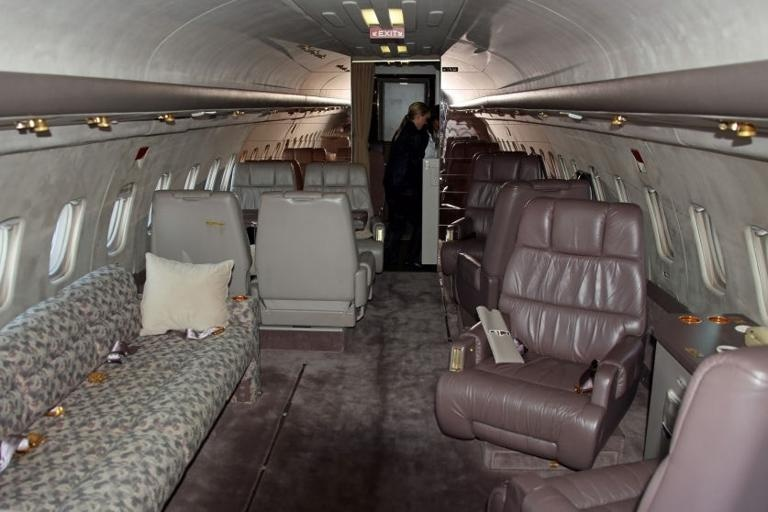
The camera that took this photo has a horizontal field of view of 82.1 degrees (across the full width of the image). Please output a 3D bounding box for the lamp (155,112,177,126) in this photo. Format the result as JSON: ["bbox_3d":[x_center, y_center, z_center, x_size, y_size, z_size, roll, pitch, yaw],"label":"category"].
[{"bbox_3d":[-1.818,-1.153,3.715,0.158,0.097,0.156,-3,9,12],"label":"lamp"}]

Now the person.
[{"bbox_3d":[0.369,-1.127,7.136,0.738,2.596,0.554,2,9,7],"label":"person"}]

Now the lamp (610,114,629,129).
[{"bbox_3d":[1.737,-1.004,3.251,0.115,0.058,0.161,3,-10,4],"label":"lamp"}]

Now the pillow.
[{"bbox_3d":[-1.646,0.341,3.701,0.711,0.625,0.262,0,-2,4],"label":"pillow"}]
